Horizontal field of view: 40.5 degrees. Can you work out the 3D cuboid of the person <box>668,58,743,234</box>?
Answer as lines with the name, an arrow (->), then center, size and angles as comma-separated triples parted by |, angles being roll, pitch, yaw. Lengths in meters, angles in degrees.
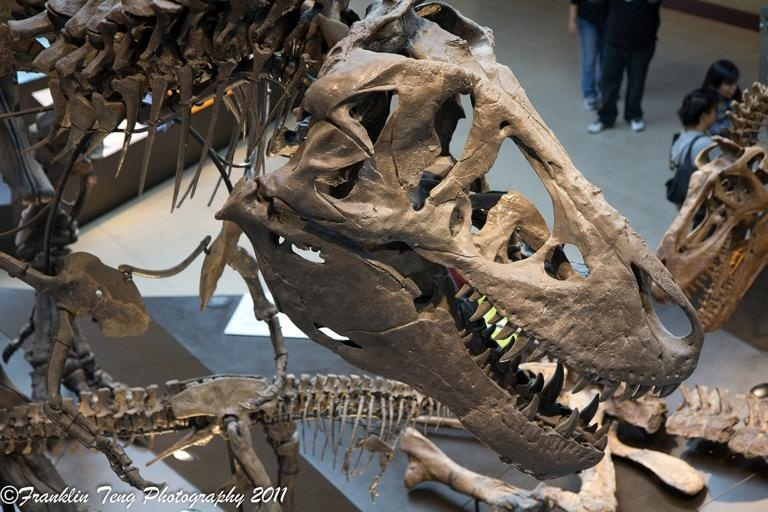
person -> 2.081, -0.712, 6.677 | 0.382, 1.088, 0.488 | -40, 54, -5
